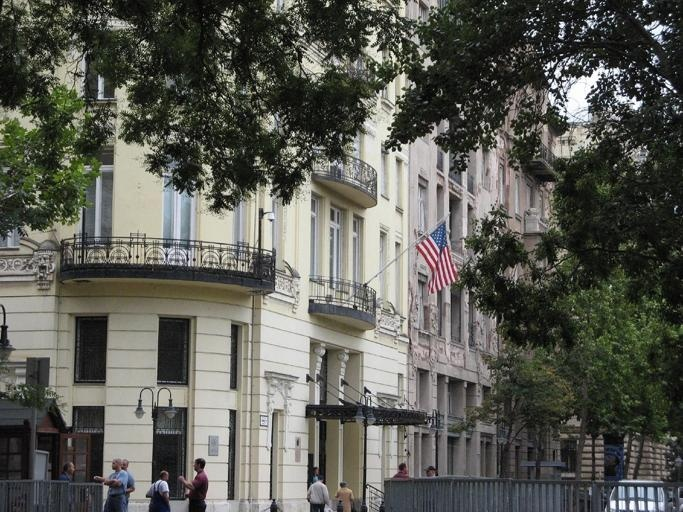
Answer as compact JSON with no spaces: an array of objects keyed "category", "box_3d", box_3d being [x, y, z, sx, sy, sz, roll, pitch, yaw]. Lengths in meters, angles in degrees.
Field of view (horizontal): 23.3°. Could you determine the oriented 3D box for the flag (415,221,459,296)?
[{"category":"flag","box_3d":[3.337,-0.046,58.007,1.097,2.854,0.224,-6,-27,-6]}]
